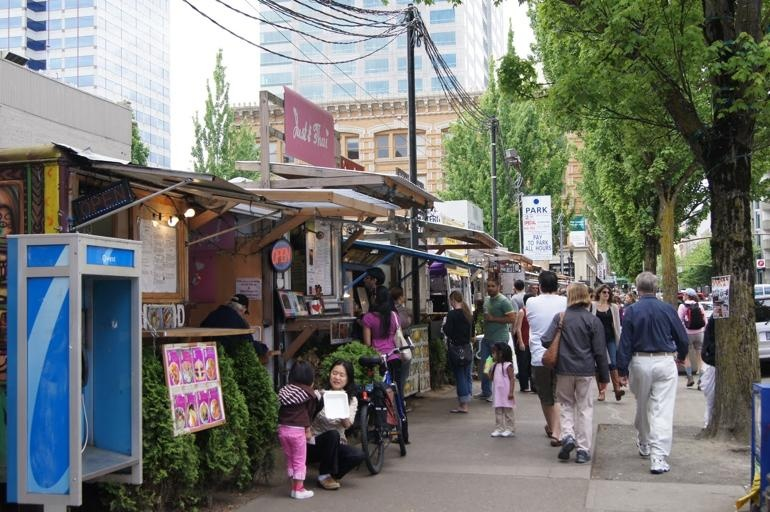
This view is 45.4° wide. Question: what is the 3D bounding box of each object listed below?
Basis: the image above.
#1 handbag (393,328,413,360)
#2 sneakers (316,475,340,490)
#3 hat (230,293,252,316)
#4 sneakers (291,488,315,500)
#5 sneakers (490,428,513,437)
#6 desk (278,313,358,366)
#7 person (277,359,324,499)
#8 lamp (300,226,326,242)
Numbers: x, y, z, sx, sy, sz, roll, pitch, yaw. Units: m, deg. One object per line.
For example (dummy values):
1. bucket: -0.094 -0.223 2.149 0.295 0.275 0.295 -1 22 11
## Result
1. handbag: 0.290 1.454 15.316 0.227 0.672 0.505 -8 -11 7
2. sneakers: -0.760 3.011 12.384 0.269 0.115 0.141 1 2 36
3. hat: -2.078 0.650 13.507 0.265 0.220 0.396 21 -14 27
4. sneakers: -1.075 3.066 11.995 0.225 0.099 0.124 0 1 -10
5. sneakers: 1.917 2.844 14.947 0.291 0.131 0.132 7 -10 -22
6. desk: -1.100 1.470 15.560 0.714 0.587 1.051 1 -3 17
7. person: -1.120 2.247 12.105 0.542 1.749 0.315 -2 -4 -17
8. lamp: -1.259 -0.430 16.244 0.129 0.249 0.659 -4 -5 23
